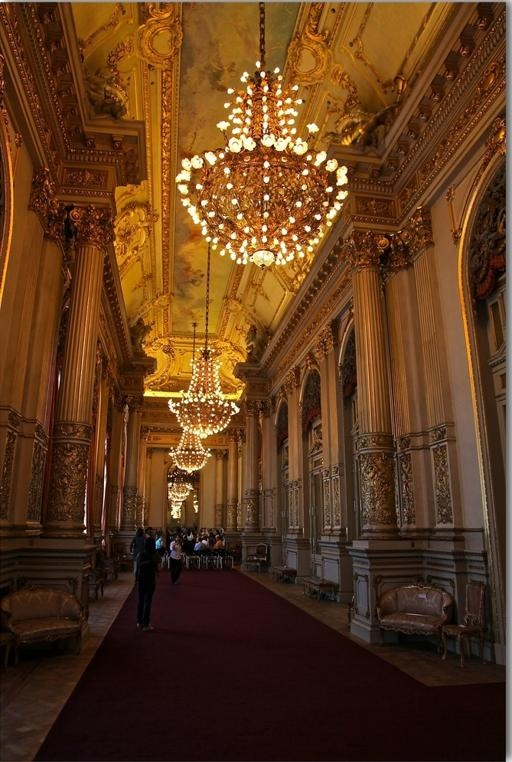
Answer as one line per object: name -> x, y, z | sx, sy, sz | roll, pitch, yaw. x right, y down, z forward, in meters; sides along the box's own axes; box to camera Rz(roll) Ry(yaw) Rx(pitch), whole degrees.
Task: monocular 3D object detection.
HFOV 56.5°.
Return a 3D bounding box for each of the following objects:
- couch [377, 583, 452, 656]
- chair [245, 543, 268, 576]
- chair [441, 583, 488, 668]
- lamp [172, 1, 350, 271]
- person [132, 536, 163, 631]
couch -> 1.693, 2.487, 5.137 | 0.878, 0.499, 0.692 | -16, -23, 42
chair -> 0.079, 5.937, 16.084 | 0.527, 0.907, 0.939 | 9, -19, -29
chair -> 2.054, 2.374, 4.697 | 0.474, 0.709, 0.934 | -8, -19, 23
lamp -> 0.064, -2.754, 4.980 | 1.571, 2.990, 1.246 | -3, -17, 10
person -> -1.458, 2.679, 6.334 | 0.273, 1.136, 0.553 | 3, -17, -12
